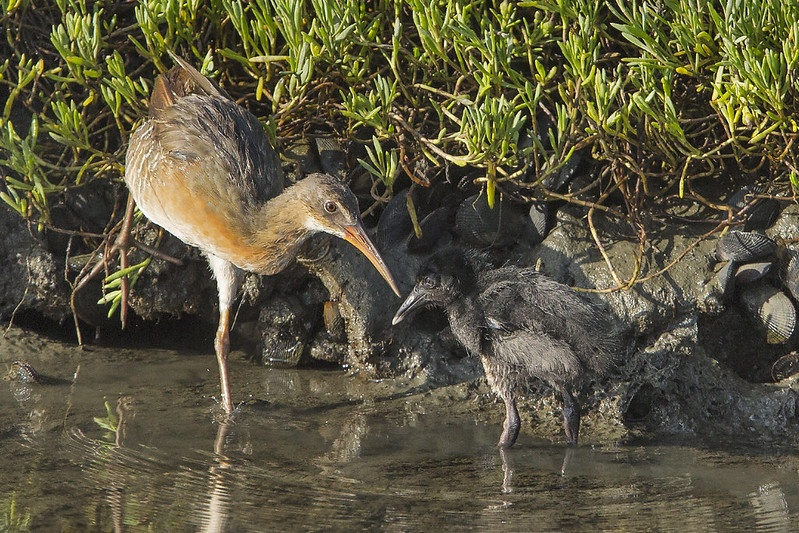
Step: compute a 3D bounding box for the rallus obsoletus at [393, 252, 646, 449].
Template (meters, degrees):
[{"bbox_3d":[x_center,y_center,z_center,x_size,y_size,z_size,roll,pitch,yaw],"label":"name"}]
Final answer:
[{"bbox_3d":[0.981,0.721,8.552,2.065,1.585,1.040,-5,-2,11],"label":"rallus obsoletus"}]
